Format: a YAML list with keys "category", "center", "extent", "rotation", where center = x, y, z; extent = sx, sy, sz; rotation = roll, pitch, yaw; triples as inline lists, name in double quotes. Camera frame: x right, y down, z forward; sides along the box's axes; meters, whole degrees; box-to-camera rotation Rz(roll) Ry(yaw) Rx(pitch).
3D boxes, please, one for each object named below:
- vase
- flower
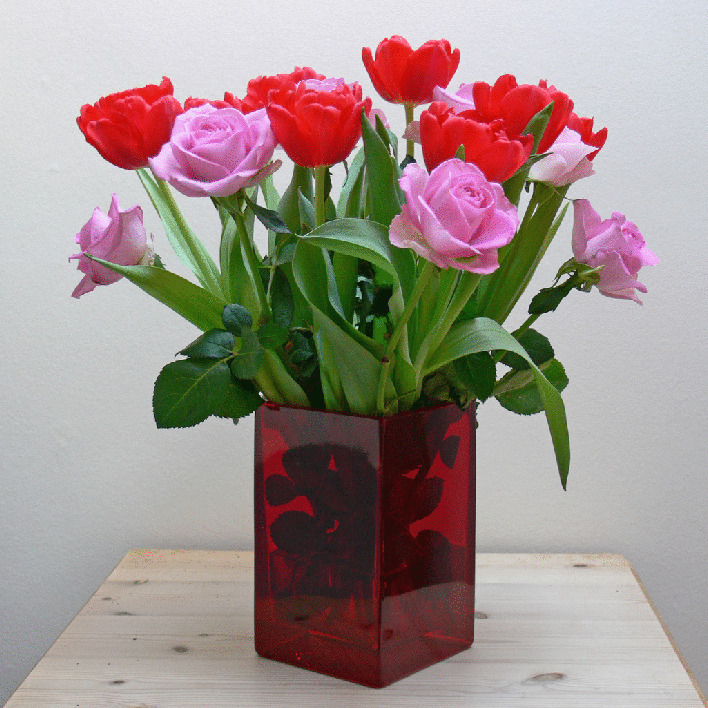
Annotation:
- category: "vase"
  center: [0.028, 0.139, 0.660]
  extent: [0.208, 0.269, 0.209]
  rotation: [0, 1, 37]
- category: "flower"
  center: [0.000, -0.022, 0.518]
  extent: [0.351, 0.392, 0.303]
  rotation: [16, 29, 27]
